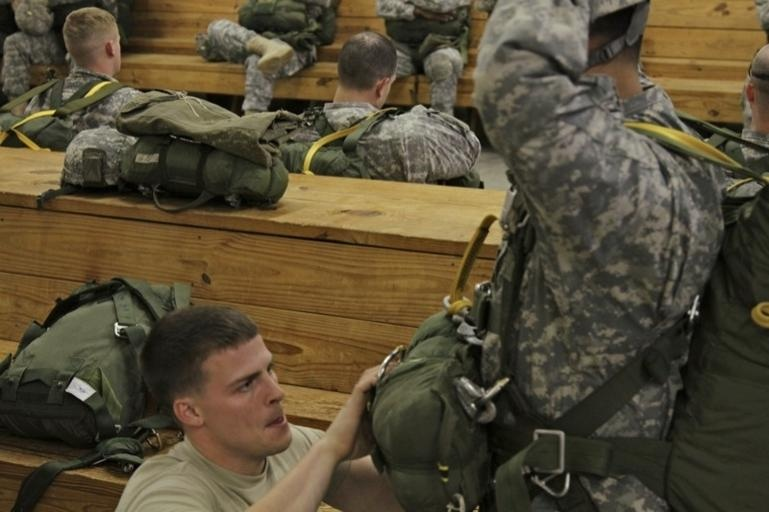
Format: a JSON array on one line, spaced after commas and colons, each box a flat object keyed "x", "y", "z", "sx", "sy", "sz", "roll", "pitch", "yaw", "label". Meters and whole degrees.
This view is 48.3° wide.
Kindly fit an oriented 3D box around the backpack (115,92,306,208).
[{"x": -0.760, "y": -0.428, "z": 3.514, "sx": 0.569, "sy": 0.274, "sz": 0.575, "roll": 9, "pitch": 22, "yaw": 6, "label": "backpack"}]

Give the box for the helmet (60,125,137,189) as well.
[{"x": -1.249, "y": -0.436, "z": 3.758, "sx": 0.239, "sy": 0.189, "sz": 0.325, "roll": 3, "pitch": 10, "yaw": 1, "label": "helmet"}]

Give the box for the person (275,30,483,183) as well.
[{"x": -0.058, "y": -0.680, "z": 4.863, "sx": 0.754, "sy": 1.049, "sz": 1.230, "roll": -20, "pitch": 22, "yaw": -37, "label": "person"}]

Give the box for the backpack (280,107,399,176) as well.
[{"x": -0.227, "y": -0.595, "z": 4.714, "sx": 0.373, "sy": 0.246, "sz": 0.608, "roll": 8, "pitch": 24, "yaw": 38, "label": "backpack"}]

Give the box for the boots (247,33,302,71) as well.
[{"x": -0.913, "y": -1.650, "z": 7.010, "sx": 0.246, "sy": 0.188, "sz": 0.513, "roll": -23, "pitch": 30, "yaw": 4, "label": "boots"}]
